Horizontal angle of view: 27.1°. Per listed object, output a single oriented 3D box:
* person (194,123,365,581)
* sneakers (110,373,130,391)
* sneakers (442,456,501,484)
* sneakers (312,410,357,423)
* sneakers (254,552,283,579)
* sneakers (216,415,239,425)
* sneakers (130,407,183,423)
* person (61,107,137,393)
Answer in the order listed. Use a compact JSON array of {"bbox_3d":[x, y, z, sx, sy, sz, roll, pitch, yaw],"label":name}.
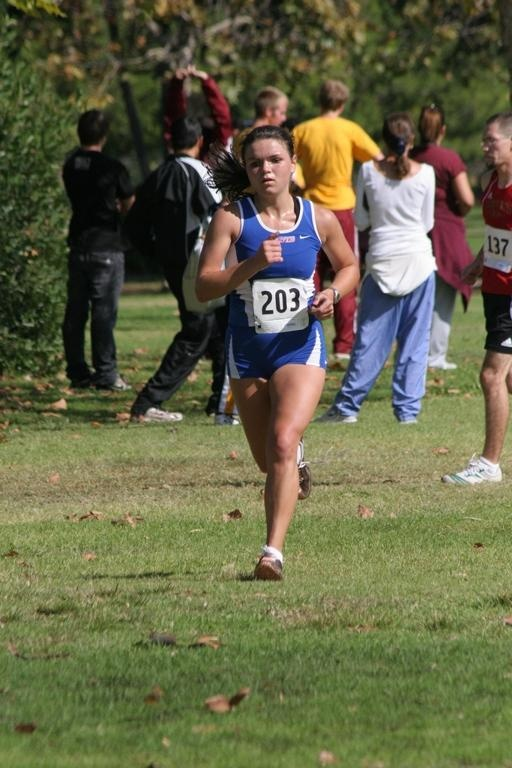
[{"bbox_3d":[0.097,-0.136,4.598,0.667,1.898,0.971,-1,7,5],"label":"person"},{"bbox_3d":[-1.269,0.014,9.893,0.261,0.163,0.083,2,2,-17],"label":"sneakers"},{"bbox_3d":[1.295,0.521,6.293,0.389,0.157,0.129,-1,1,-5],"label":"sneakers"},{"bbox_3d":[0.632,0.265,8.562,0.351,0.134,0.123,3,2,5],"label":"sneakers"},{"bbox_3d":[0.050,0.737,4.300,0.072,0.068,0.144,0,-29,1],"label":"sneakers"},{"bbox_3d":[-0.242,0.300,8.602,0.223,0.085,0.073,0,0,0],"label":"sneakers"},{"bbox_3d":[-0.821,0.250,8.796,0.410,0.151,0.148,-1,0,-3],"label":"sneakers"},{"bbox_3d":[-1.401,-1.101,9.367,0.631,2.437,1.187,-3,7,-11],"label":"person"}]
